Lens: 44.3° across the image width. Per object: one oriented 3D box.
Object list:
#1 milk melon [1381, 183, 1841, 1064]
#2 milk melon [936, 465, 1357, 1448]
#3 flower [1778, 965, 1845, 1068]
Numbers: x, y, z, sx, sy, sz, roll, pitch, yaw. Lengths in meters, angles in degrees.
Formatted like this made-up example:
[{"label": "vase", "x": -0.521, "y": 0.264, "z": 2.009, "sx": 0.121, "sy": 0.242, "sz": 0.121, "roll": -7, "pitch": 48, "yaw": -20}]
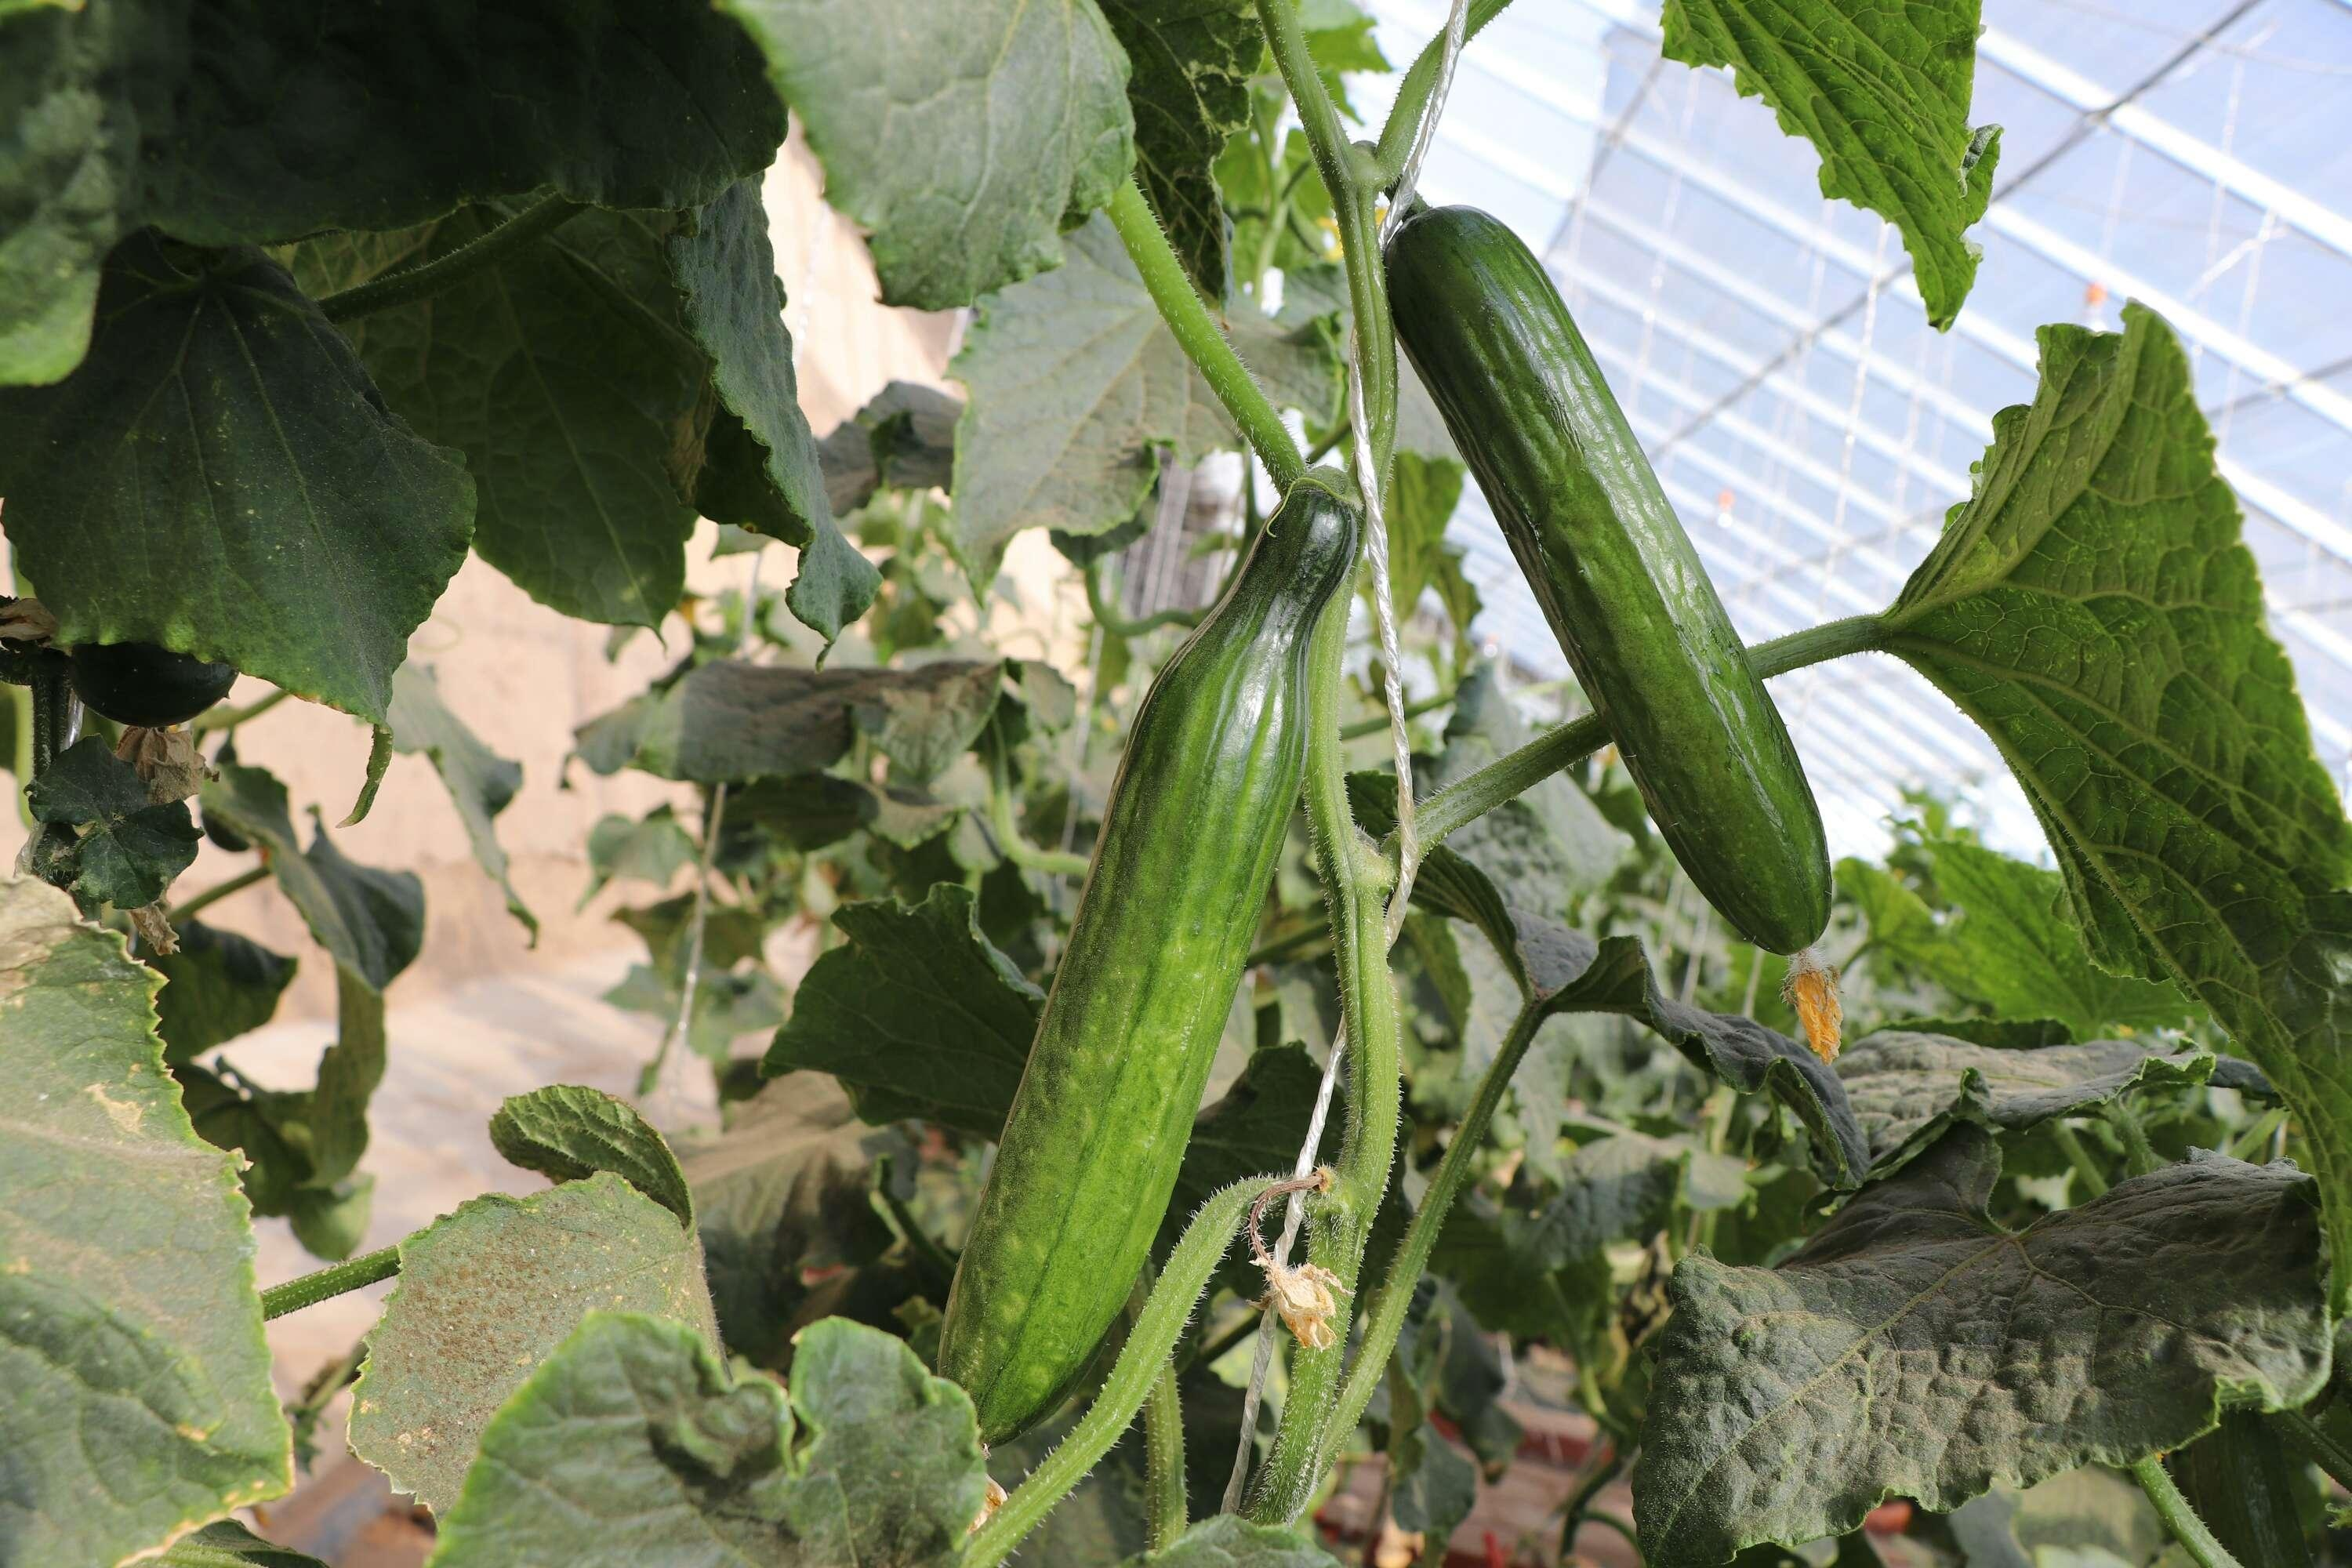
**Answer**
[{"label": "milk melon", "x": 0.373, "y": -0.140, "z": 2.405, "sx": 0.251, "sy": 0.717, "sz": 0.221, "roll": -3, "pitch": 1, "yaw": -14}, {"label": "milk melon", "x": -0.016, "y": 0.141, "z": 2.357, "sx": 0.154, "sy": 0.804, "sz": 0.197, "roll": 21, "pitch": -15, "yaw": 3}, {"label": "flower", "x": 0.557, "y": 0.201, "z": 2.516, "sx": 0.100, "sy": 0.037, "sz": 0.044, "roll": 64, "pitch": -1, "yaw": -24}]
